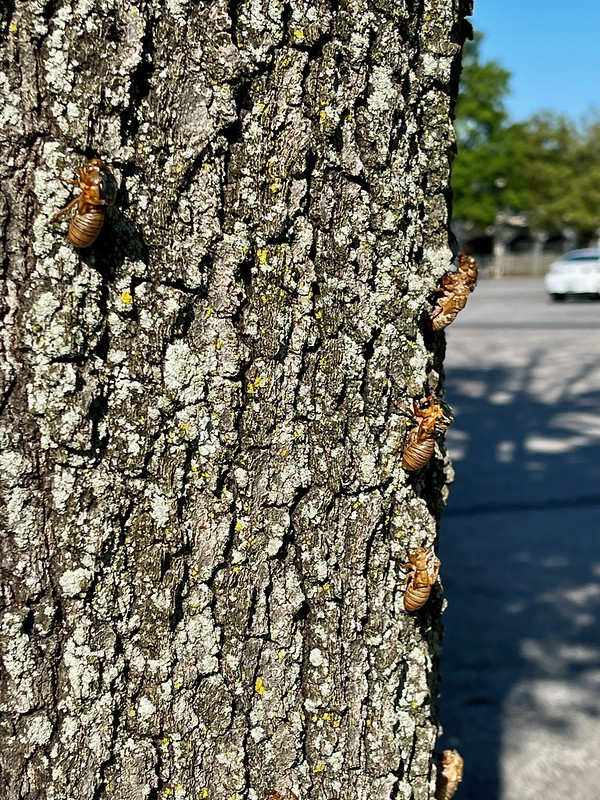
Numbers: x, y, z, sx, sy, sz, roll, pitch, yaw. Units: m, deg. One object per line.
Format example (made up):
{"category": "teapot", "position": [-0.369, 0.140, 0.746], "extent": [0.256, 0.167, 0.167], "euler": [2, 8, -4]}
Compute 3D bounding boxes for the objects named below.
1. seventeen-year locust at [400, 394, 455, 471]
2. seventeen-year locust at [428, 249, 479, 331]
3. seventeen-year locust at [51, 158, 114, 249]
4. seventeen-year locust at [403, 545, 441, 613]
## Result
{"category": "seventeen-year locust", "position": [0.323, 0.096, 4.101], "extent": [0.078, 0.187, 0.140], "euler": [26, 7, 30]}
{"category": "seventeen-year locust", "position": [0.421, -0.292, 4.259], "extent": [0.133, 0.203, 0.071], "euler": [30, -9, -2]}
{"category": "seventeen-year locust", "position": [-0.533, -0.469, 3.819], "extent": [0.054, 0.215, 0.153], "euler": [13, 5, 30]}
{"category": "seventeen-year locust", "position": [0.323, 0.488, 4.167], "extent": [0.089, 0.181, 0.128], "euler": [3, 2, 5]}
